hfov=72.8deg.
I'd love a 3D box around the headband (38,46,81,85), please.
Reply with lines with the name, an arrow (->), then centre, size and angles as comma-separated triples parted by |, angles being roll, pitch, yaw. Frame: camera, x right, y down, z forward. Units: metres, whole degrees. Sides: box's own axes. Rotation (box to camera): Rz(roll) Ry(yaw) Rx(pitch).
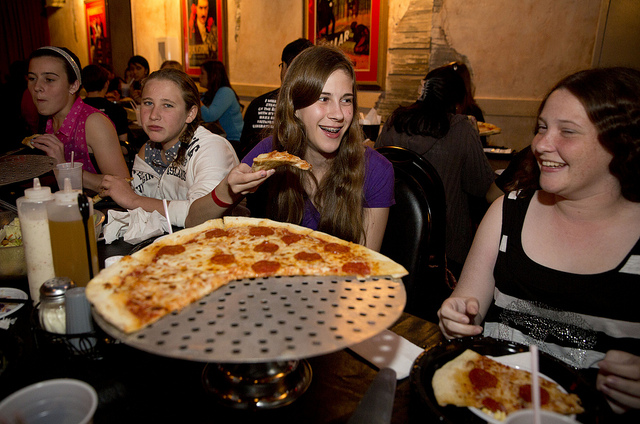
headband -> -1.893, -1.081, 3.198 | 0.243, 0.261, 0.061 | -13, 20, 3

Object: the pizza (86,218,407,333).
pizza -> -0.315, 0.175, 1.683 | 1.040, 0.103, 0.675 | -5, 19, -19

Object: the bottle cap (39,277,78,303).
bottle cap -> -0.875, 0.257, 1.447 | 0.086, 0.079, 0.085 | 1, 14, -28

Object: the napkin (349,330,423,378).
napkin -> 0.240, 0.485, 1.511 | 0.202, 0.062, 0.182 | 16, 23, 39

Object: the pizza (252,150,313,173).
pizza -> -0.198, -0.243, 2.189 | 0.274, 0.098, 0.396 | -2, 18, -8

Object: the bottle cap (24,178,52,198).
bottle cap -> -1.057, -0.098, 1.648 | 0.076, 0.074, 0.076 | 2, 15, -15

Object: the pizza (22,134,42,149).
pizza -> -1.997, -0.486, 3.013 | 0.072, 0.113, 0.403 | -13, 22, -35

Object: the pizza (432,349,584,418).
pizza -> 0.545, 0.478, 1.270 | 0.314, 0.015, 0.173 | 11, 26, 35

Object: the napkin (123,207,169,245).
napkin -> -0.841, 0.064, 2.102 | 0.192, 0.065, 0.163 | -13, 67, -20

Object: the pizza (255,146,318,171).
pizza -> -0.168, -0.253, 2.163 | 0.162, 0.109, 0.244 | 33, 10, 31
